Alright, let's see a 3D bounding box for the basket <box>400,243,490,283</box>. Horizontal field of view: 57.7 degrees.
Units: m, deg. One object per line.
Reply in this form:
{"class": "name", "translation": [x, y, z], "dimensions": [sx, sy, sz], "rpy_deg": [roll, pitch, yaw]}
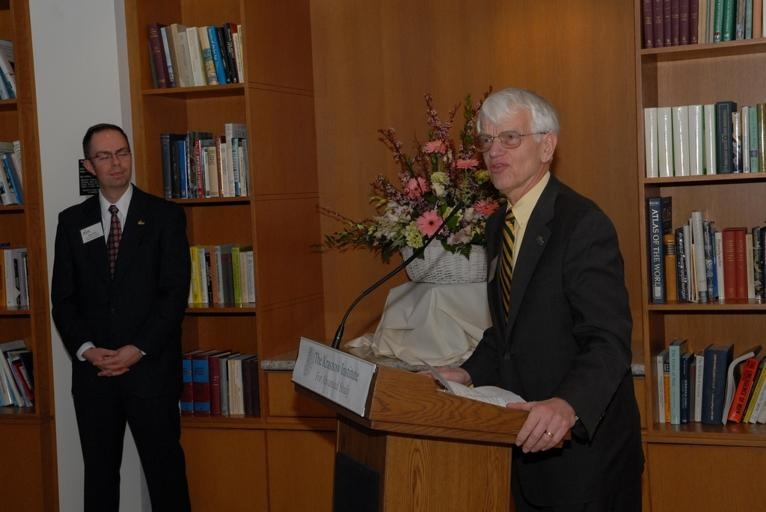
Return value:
{"class": "basket", "translation": [0.354, 0.070, 3.846], "dimensions": [0.266, 0.133, 0.300], "rpy_deg": [4, -9, -42]}

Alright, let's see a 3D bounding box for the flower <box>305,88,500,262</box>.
{"class": "flower", "translation": [0.235, -0.362, 4.007], "dimensions": [0.966, 0.916, 1.001], "rpy_deg": [10, 24, 41]}
